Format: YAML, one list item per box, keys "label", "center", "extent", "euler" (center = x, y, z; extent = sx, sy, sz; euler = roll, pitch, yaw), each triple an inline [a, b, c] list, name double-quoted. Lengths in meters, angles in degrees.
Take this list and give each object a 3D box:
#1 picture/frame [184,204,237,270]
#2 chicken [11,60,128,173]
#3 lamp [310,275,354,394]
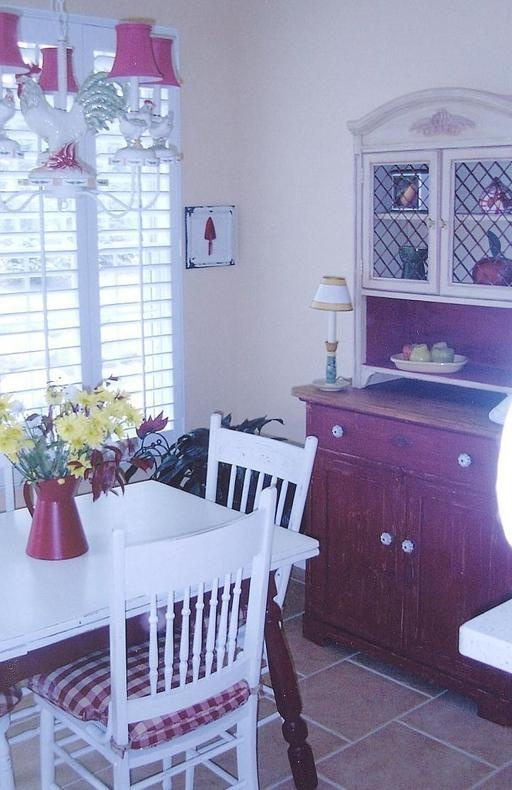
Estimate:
- label: "picture/frame"
  center: [-0.221, -0.753, 3.120]
  extent: [0.279, 0.289, 0.025]
  euler: [-9, 20, -28]
- label: "chicken"
  center: [-0.375, -0.513, 1.317]
  extent: [0.184, 0.232, 0.237]
  euler: [10, 18, 36]
- label: "lamp"
  center: [0.265, -0.213, 2.306]
  extent: [0.159, 0.403, 0.168]
  euler: [7, 11, 43]
